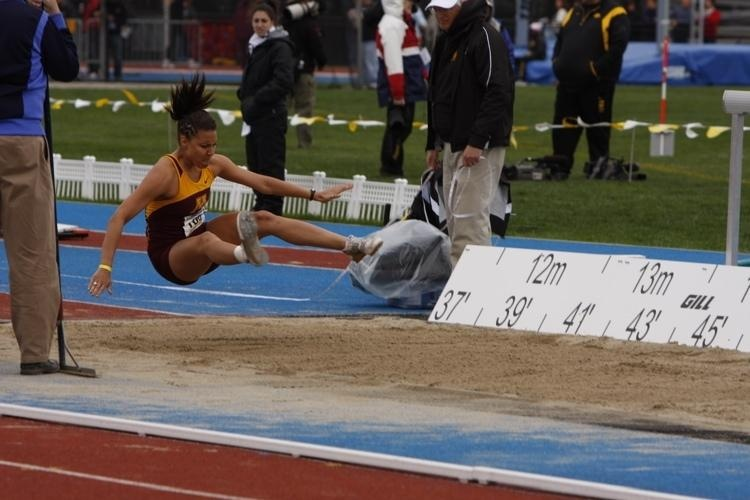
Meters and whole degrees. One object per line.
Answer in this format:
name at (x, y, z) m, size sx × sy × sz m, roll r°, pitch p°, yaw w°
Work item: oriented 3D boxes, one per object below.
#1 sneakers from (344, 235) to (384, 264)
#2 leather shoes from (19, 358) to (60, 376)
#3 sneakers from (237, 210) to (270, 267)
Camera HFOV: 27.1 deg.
sneakers at (-0.098, -0.001, 13.708) m, size 0.338 × 0.238 × 0.226 m, roll 2°, pitch 10°, yaw 0°
leather shoes at (-2.717, 0.951, 12.741) m, size 0.257 × 0.120 × 0.125 m, roll -3°, pitch 9°, yaw -24°
sneakers at (-1.039, -0.078, 13.151) m, size 0.191 × 0.499 × 0.215 m, roll -28°, pitch 20°, yaw -29°
